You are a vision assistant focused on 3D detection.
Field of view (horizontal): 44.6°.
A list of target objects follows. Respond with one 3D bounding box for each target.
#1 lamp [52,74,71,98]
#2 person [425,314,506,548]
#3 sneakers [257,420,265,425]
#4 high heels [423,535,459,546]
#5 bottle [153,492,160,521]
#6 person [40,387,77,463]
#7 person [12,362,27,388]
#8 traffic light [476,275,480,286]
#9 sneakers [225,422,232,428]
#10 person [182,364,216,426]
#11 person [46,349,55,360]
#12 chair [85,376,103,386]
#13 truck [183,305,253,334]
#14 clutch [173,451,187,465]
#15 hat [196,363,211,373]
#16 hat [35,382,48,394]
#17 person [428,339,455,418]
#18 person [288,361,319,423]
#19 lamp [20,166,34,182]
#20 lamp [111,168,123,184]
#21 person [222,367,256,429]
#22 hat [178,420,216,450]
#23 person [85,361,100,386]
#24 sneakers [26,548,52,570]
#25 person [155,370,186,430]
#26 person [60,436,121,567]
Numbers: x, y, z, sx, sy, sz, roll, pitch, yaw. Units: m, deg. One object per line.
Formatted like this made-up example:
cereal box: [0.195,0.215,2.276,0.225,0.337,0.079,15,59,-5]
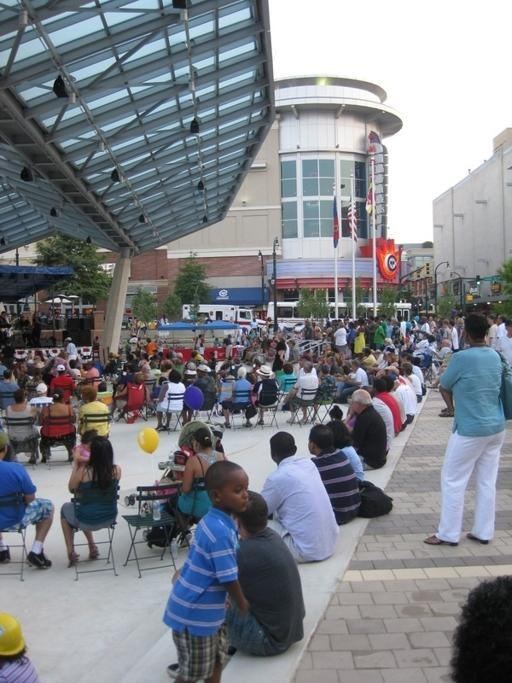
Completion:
lamp: [-3.294,-4.292,10.481,0.221,0.365,0.520,2,-2,-10]
person: [1.826,0.760,5.166,0.584,1.963,0.566,2,-1,-12]
sneakers: [0.096,1.797,13.602,0.174,0.125,0.094,3,15,4]
high heels: [1.569,1.691,5.299,0.238,0.083,0.087,6,-8,16]
bottle: [-0.903,1.534,5.657,0.071,0.145,0.232,2,-2,-5]
person: [-3.248,1.553,10.273,0.657,1.051,0.717,3,-8,-23]
person: [-5.748,0.848,15.130,0.242,0.327,0.724,-8,-43,-3]
traffic light: [19.212,-5.153,53.852,0.288,0.884,1.685,2,-2,17]
sneakers: [-0.614,1.834,13.491,0.106,0.130,0.306,0,-6,-6]
person: [-1.201,1.371,12.937,0.655,0.861,0.684,-2,-5,14]
person: [-7.634,0.533,23.043,0.284,0.355,0.919,-2,-6,-17]
chair: [-4.033,1.004,15.427,0.525,0.250,0.376,1,2,-9]
truck: [-2.613,-1.786,43.792,3.790,1.753,2.951,0,3,2]
clutch: [-0.726,1.117,5.948,0.119,0.152,0.155,2,10,2]
hat: [-1.137,0.605,13.470,0.230,0.075,0.227,22,-1,3]
hat: [-3.984,0.870,11.461,0.233,0.257,0.303,1,-4,-13]
person: [4.288,0.886,14.008,0.901,1.574,0.582,-4,6,-40]
person: [1.032,1.133,13.383,0.653,1.369,1.287,2,-1,3]
lamp: [-5.248,-3.818,14.259,0.251,0.272,0.442,2,-2,-20]
lamp: [-3.565,-4.189,15.873,0.250,0.256,0.819,2,-2,-10]
person: [-0.371,1.233,13.458,0.705,0.857,1.284,2,-2,-1]
hat: [-0.483,0.893,5.485,0.271,0.356,0.312,5,0,-24]
person: [-4.125,0.848,15.690,0.423,0.710,0.541,-3,3,-3]
sneakers: [-1.983,2.039,5.795,0.291,0.135,0.107,35,1,-42]
person: [-1.751,1.249,12.736,0.530,0.927,0.993,2,-1,-7]
person: [-1.551,1.498,5.867,0.493,0.979,0.584,3,-2,-38]
